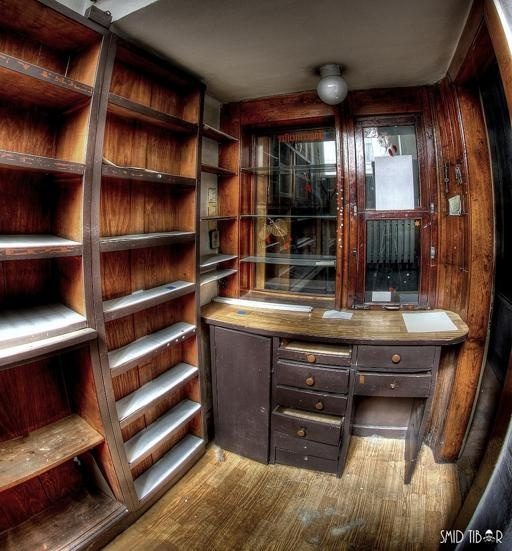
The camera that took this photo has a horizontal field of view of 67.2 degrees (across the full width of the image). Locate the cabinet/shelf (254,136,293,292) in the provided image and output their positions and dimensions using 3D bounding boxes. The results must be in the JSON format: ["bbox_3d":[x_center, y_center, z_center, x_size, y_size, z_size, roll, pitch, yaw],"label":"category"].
[{"bbox_3d":[0.104,-0.394,2.480,0.246,0.983,0.207,1,13,10],"label":"cabinet/shelf"}]

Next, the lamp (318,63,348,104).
[{"bbox_3d":[0.388,-0.980,1.998,0.155,0.209,0.159,-9,11,0],"label":"lamp"}]
